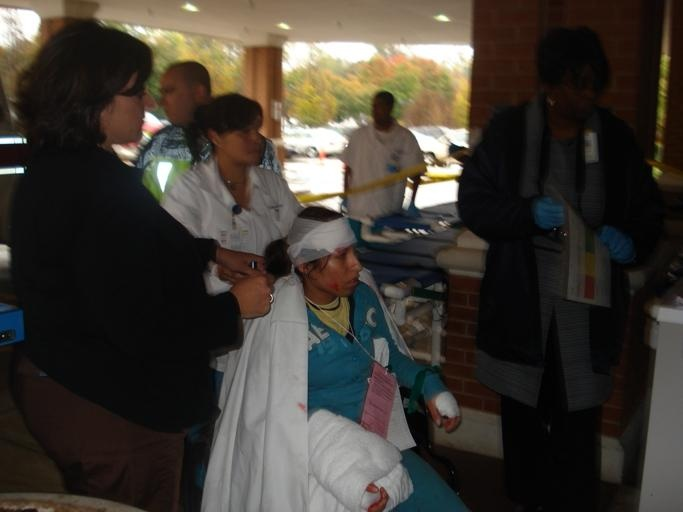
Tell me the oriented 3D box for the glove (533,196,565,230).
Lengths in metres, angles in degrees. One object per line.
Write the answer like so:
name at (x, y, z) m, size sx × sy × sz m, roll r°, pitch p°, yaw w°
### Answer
glove at (0.911, -0.187, 2.493) m, size 0.138 × 0.148 × 0.052 m, roll 1°, pitch 16°, yaw 18°

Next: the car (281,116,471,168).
car at (0.381, -1.057, 6.173) m, size 1.969 × 0.650 × 0.934 m, roll -4°, pitch 18°, yaw -3°

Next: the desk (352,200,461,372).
desk at (0.493, -0.013, 4.152) m, size 0.395 × 0.732 × 1.651 m, roll 4°, pitch 0°, yaw 22°

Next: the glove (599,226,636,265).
glove at (1.273, -0.050, 2.624) m, size 0.176 × 0.192 × 0.098 m, roll -8°, pitch 15°, yaw -16°

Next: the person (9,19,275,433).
person at (-0.806, -0.328, 2.371) m, size 1.074 × 1.710 × 0.999 m, roll -9°, pitch 27°, yaw -36°
